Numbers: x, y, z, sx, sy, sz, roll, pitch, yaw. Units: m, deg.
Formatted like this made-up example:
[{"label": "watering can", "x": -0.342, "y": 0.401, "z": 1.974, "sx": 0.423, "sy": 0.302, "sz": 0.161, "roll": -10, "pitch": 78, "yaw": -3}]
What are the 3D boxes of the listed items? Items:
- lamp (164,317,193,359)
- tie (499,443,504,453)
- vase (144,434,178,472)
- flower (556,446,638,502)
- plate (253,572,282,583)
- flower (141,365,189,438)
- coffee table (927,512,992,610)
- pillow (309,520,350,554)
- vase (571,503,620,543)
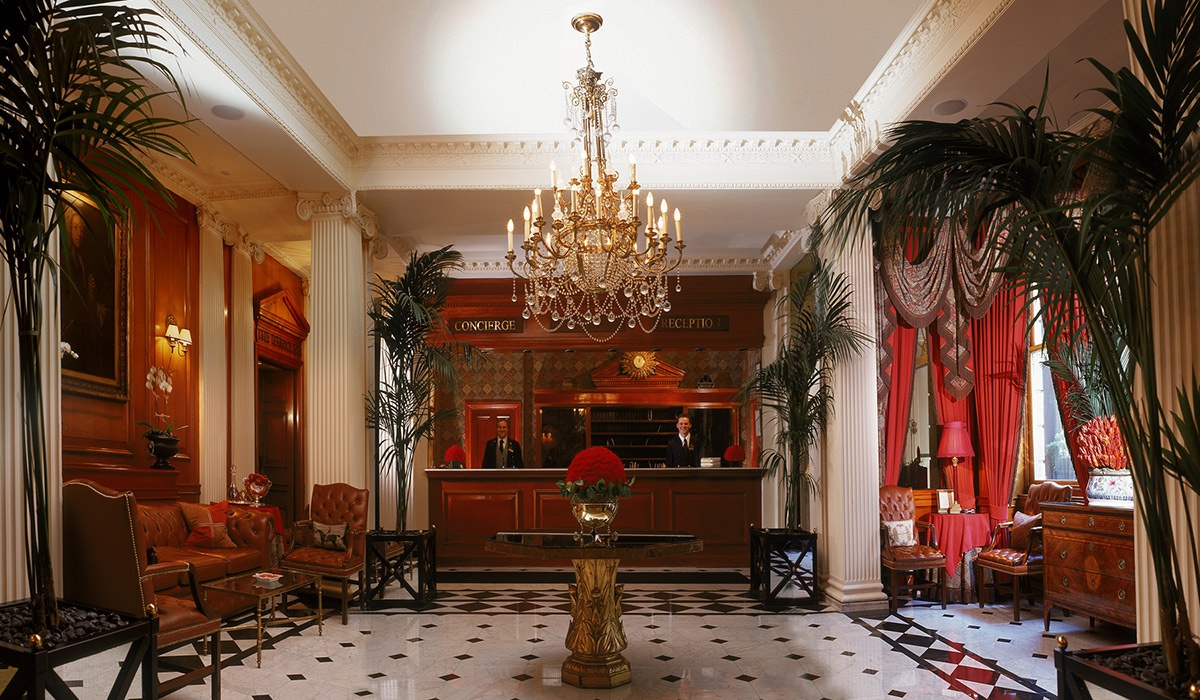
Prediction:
[{"label": "lamp", "x": -5.594, "y": -0.172, "z": 10.312, "sx": 0.211, "sy": 0.582, "sz": 0.548, "roll": -2, "pitch": -3, "yaw": 2}, {"label": "tie", "x": -1.742, "y": 1.714, "z": 13.869, "sx": 0.083, "sy": 0.164, "sz": 0.032, "roll": 0, "pitch": -1, "yaw": -9}, {"label": "vase", "x": -5.327, "y": 1.269, "z": 9.603, "sx": 0.444, "sy": 0.483, "sz": 0.442, "roll": 1, "pitch": -13, "yaw": -8}, {"label": "flower", "x": 0.001, "y": 1.214, "z": 7.742, "sx": 0.588, "sy": 0.347, "sz": 0.584, "roll": 5, "pitch": -9, "yaw": -44}, {"label": "plate", "x": -3.435, "y": 2.355, "z": 8.043, "sx": 0.249, "sy": 0.066, "sz": 0.309, "roll": 1, "pitch": -2, "yaw": -10}, {"label": "flower", "x": -5.600, "y": 0.664, "z": 9.999, "sx": 0.208, "sy": 0.753, "sz": 0.768, "roll": -10, "pitch": -19, "yaw": 2}, {"label": "coffee table", "x": 4.626, "y": 2.657, "z": 10.051, "sx": 0.976, "sy": 1.160, "sz": 0.978, "roll": -1, "pitch": -6, "yaw": 17}, {"label": "pillow", "x": -3.279, "y": 2.259, "z": 9.446, "sx": 0.544, "sy": 0.340, "sz": 0.074, "roll": -1, "pitch": -2, "yaw": 22}, {"label": "vase", "x": -0.043, "y": 1.771, "z": 7.837, "sx": 0.444, "sy": 0.340, "sz": 0.420, "roll": -15, "pitch": -26, "yaw": 38}]
